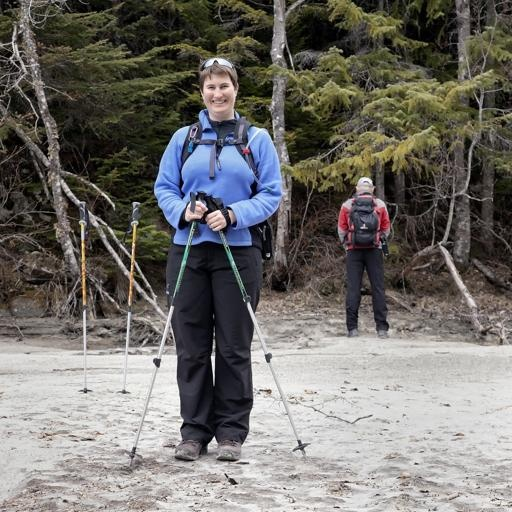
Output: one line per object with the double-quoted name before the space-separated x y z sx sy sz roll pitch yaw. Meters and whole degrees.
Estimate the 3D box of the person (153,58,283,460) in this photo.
"person" -0.285 -0.001 5.933 0.933 2.924 0.568 1 5 -1

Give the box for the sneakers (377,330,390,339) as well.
"sneakers" 1.795 1.103 11.460 0.196 0.099 0.135 12 27 -10

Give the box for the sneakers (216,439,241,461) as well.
"sneakers" -0.188 1.399 5.879 0.167 0.129 0.225 1 4 2

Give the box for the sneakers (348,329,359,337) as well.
"sneakers" 1.399 1.105 11.585 0.091 0.123 0.133 8 27 11

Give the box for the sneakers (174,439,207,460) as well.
"sneakers" -0.444 1.396 5.880 0.121 0.137 0.326 4 5 38
